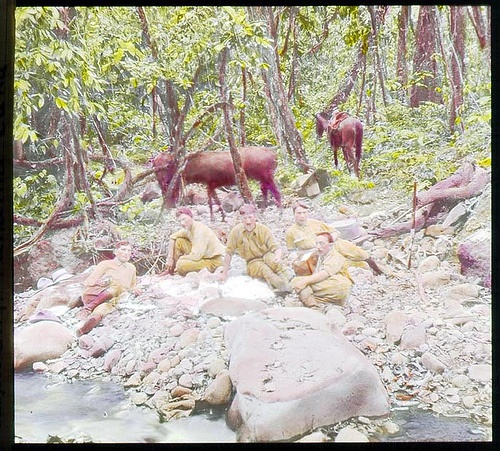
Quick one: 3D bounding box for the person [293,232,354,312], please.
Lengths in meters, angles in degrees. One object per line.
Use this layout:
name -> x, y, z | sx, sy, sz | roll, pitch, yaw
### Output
person -> 0.626, 0.401, 4.048 | 0.604, 0.816, 0.500 | 2, -11, 2

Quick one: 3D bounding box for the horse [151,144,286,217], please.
horse -> -0.245, -0.376, 4.231 | 1.036, 0.662, 0.273 | -6, 8, 8

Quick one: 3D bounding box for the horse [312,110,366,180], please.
horse -> 0.782, -0.744, 4.289 | 0.224, 0.566, 0.649 | -8, 11, -25

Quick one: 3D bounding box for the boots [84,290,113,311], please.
boots -> -1.263, 0.636, 4.061 | 0.196, 0.054, 0.066 | -35, -9, -9

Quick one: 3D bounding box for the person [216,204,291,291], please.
person -> 0.047, 0.216, 4.076 | 0.500, 0.742, 0.488 | -6, 16, 16

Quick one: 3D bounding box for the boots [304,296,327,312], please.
boots -> 0.550, 0.630, 4.032 | 0.152, 0.054, 0.115 | 31, 4, 17
